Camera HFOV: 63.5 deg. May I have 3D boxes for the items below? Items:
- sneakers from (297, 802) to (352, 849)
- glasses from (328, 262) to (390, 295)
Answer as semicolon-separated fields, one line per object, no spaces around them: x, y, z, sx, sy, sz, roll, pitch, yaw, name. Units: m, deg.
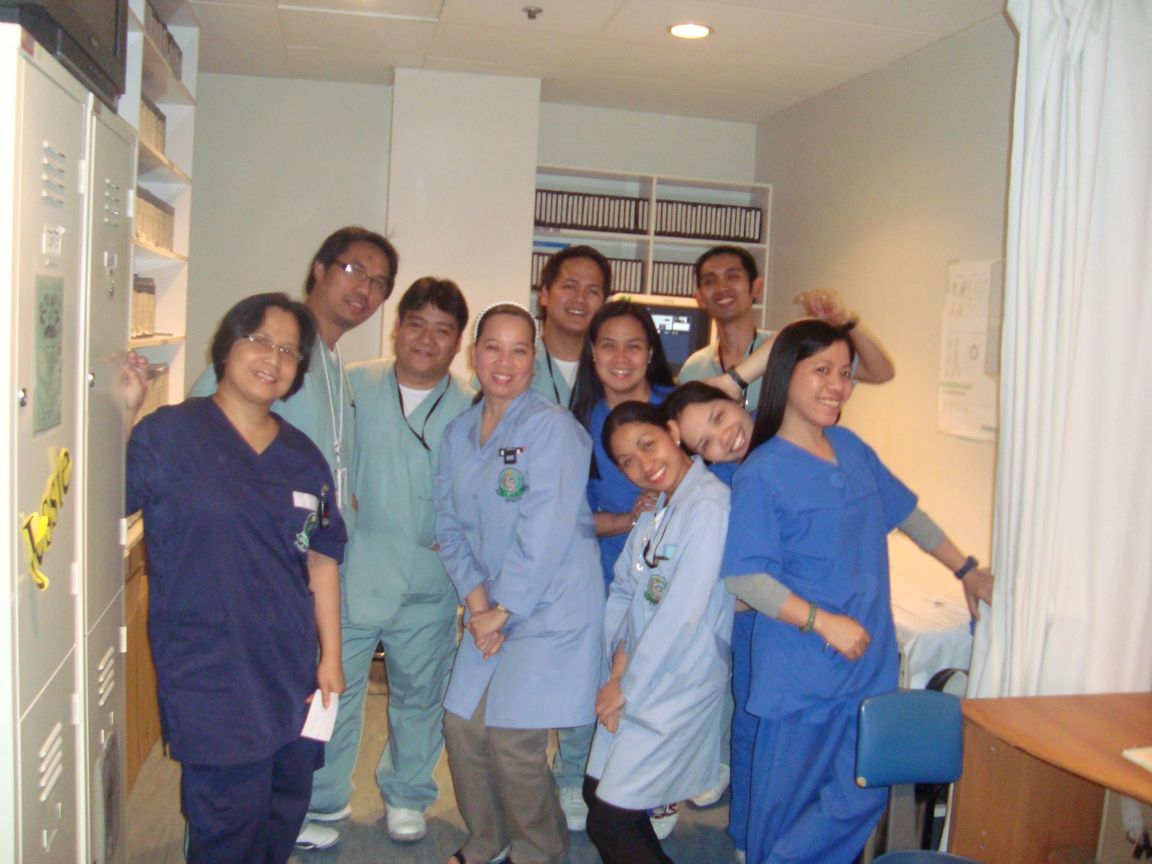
-0.847;1.324;3.153;0.108;0.086;0.199;1;-4;12;sneakers
-0.697;-0.515;3.121;0.064;0.087;0.219;1;3;37;glasses
